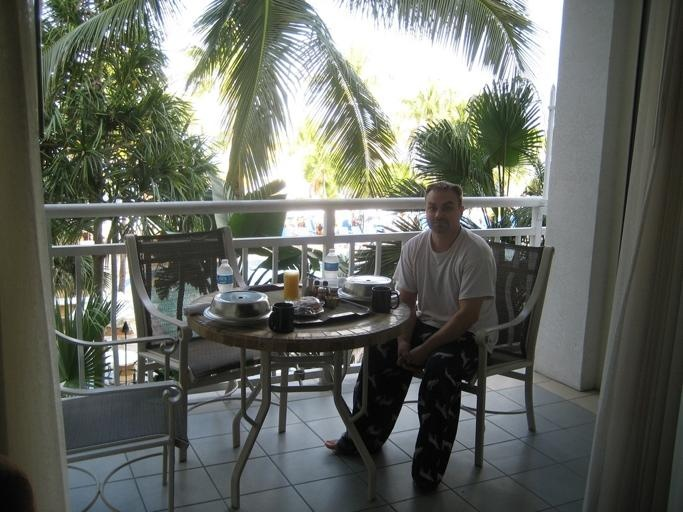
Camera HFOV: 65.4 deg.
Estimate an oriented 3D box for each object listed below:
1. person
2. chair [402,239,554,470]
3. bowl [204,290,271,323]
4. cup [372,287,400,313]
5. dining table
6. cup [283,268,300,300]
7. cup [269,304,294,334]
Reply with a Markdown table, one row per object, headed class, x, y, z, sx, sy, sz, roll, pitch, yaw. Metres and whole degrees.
| class | x | y | z | sx | sy | sz | roll | pitch | yaw |
| --- | --- | --- | --- | --- | --- | --- | --- | --- | --- |
| person | 0.436 | 0.397 | 3.074 | 0.768 | 1.645 | 0.905 | 6 | 8 | 25 |
| chair | 0.829 | 0.538 | 3.328 | 0.817 | 1.186 | 0.883 | -1 | 8 | -5 |
| bowl | -0.497 | 0.243 | 2.565 | 0.293 | 0.088 | 0.303 | 1 | 12 | 0 |
| cup | 0.228 | 0.233 | 2.751 | 0.149 | 0.130 | 0.099 | 0 | 4 | -2 |
| dining table | -0.201 | 0.738 | 2.734 | 0.895 | 0.770 | 0.961 | -1 | 8 | -8 |
| cup | -0.257 | 0.163 | 2.857 | 0.116 | 0.225 | 0.126 | 1 | 3 | 0 |
| cup | -0.262 | 0.286 | 2.445 | 0.083 | 0.123 | 0.133 | 11 | 15 | 43 |
